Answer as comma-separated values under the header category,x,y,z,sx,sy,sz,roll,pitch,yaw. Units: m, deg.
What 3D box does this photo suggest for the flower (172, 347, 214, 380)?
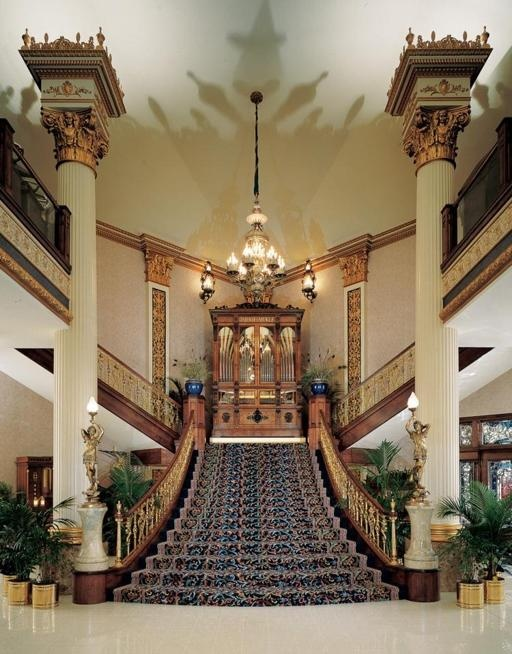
category,x,y,z,sx,sy,sz,roll,pitch,yaw
flower,-1.186,0.680,12.504,0.563,0.656,0.592,0,-7,-7

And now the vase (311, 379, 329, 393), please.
category,x,y,z,sx,sy,sz,roll,pitch,yaw
vase,1.110,1.080,11.676,0.292,0.334,0.425,-2,-18,2

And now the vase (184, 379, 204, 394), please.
category,x,y,z,sx,sy,sz,roll,pitch,yaw
vase,-1.094,1.069,11.550,0.303,0.330,0.392,0,-18,-6

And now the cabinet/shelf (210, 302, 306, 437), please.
category,x,y,z,sx,sy,sz,roll,pitch,yaw
cabinet/shelf,0.016,0.832,12.532,2.397,3.297,0.953,0,-15,1

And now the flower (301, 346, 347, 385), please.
category,x,y,z,sx,sy,sz,roll,pitch,yaw
flower,1.270,0.748,12.835,0.663,0.648,0.669,0,-18,8
